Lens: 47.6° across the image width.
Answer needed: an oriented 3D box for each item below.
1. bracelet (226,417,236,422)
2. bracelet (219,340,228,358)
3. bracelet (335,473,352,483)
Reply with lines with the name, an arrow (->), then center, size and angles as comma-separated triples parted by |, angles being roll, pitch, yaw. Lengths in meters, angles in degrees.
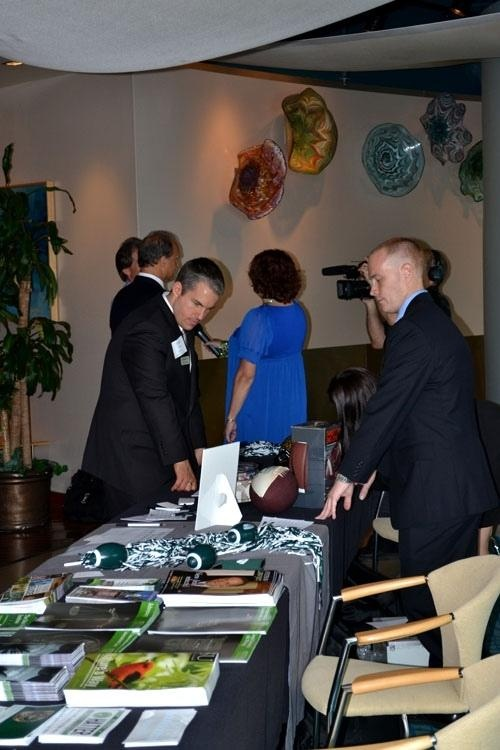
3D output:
bracelet -> -0.108, 0.251, 3.203 | 0.044, 0.036, 0.049 | -4, 0, 3
bracelet -> -0.149, -0.138, 3.133 | 0.028, 0.074, 0.057 | 2, 10, -12
bracelet -> 0.276, 0.309, 1.681 | 0.028, 0.027, 0.028 | 4, 11, 18
